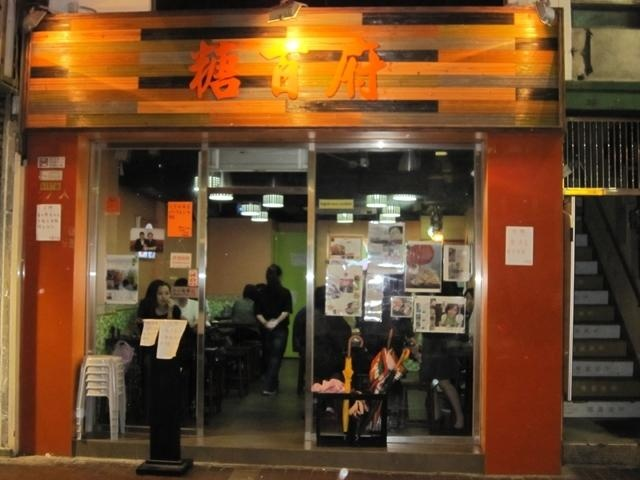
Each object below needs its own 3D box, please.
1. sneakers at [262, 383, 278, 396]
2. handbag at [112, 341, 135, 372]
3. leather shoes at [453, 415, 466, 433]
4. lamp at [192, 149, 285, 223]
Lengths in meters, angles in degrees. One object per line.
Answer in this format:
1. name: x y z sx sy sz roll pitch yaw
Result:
1. sneakers: -0.571 1.709 9.436 0.078 0.102 0.235 -2 -16 9
2. handbag: -2.125 1.252 8.888 0.224 0.308 0.120 4 -5 -4
3. leather shoes: 1.458 1.929 8.619 0.155 0.157 0.096 3 -11 7
4. lamp: -0.715 -0.603 9.001 1.002 0.760 0.265 1 -6 0
